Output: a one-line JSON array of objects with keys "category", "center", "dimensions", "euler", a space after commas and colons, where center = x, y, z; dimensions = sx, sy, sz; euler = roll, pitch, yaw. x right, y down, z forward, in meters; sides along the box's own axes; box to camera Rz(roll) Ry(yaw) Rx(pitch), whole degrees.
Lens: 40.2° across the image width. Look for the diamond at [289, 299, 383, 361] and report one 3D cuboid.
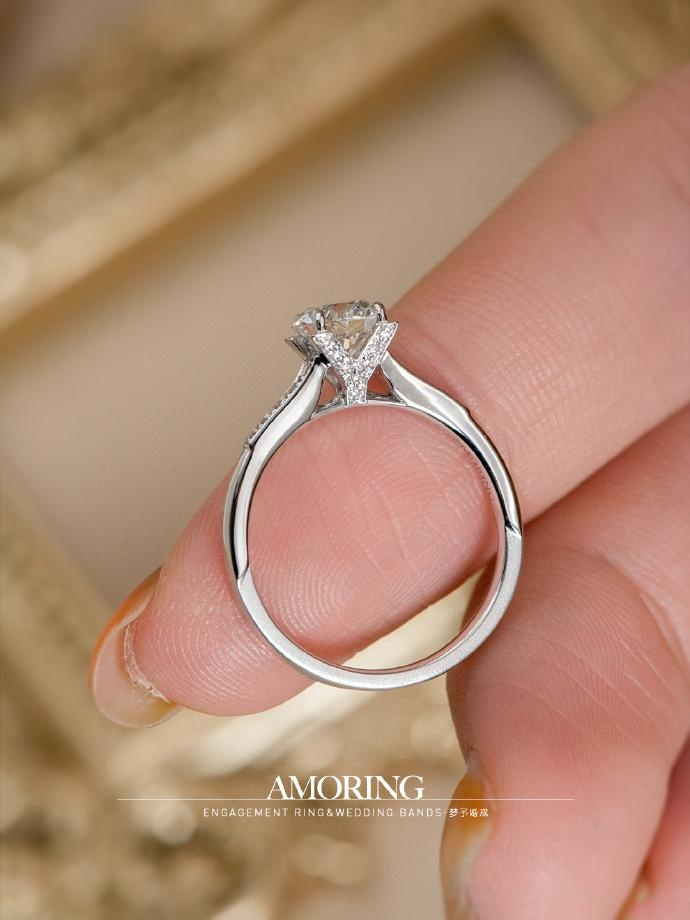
[{"category": "diamond", "center": [-0.005, -0.096, 0.670], "dimensions": [0.050, 0.018, 0.047], "euler": [-31, 66, -18]}]
